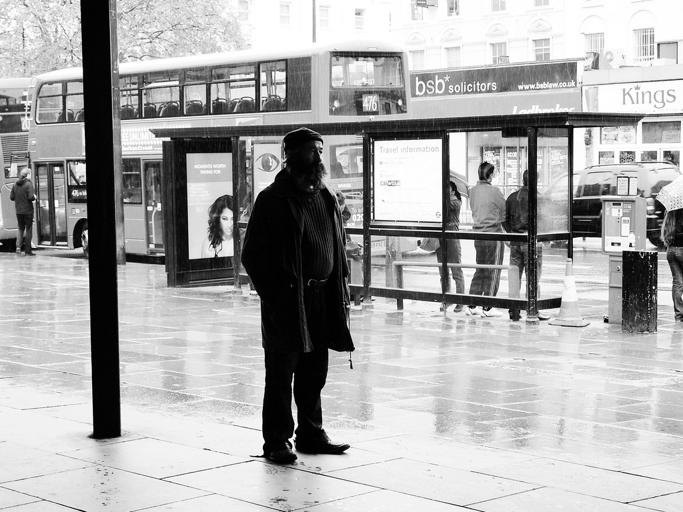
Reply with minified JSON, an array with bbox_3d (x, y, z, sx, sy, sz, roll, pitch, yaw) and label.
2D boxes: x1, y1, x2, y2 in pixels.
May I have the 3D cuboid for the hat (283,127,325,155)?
[{"bbox_3d":[-0.314,-0.917,7.284,0.215,0.110,0.228,1,-2,-18],"label":"hat"}]

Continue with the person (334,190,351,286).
[{"bbox_3d":[-0.049,-0.332,15.492,0.296,1.512,0.413,0,-1,-4],"label":"person"}]

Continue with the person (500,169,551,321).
[{"bbox_3d":[2.801,-0.146,14.375,0.429,2.376,0.745,-2,5,-30],"label":"person"}]

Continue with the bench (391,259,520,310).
[{"bbox_3d":[1.799,0.512,15.330,2.260,0.909,0.607,3,15,25],"label":"bench"}]

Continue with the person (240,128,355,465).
[{"bbox_3d":[-0.332,0.298,7.345,0.898,2.595,0.447,-2,5,-33],"label":"person"}]

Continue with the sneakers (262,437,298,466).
[{"bbox_3d":[-0.484,1.521,7.226,0.268,0.161,0.258,0,5,-4],"label":"sneakers"}]

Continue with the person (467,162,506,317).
[{"bbox_3d":[2.333,-0.257,14.901,0.530,2.535,0.898,1,4,2],"label":"person"}]

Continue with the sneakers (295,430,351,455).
[{"bbox_3d":[-0.151,1.518,7.540,0.456,0.222,0.175,1,0,4],"label":"sneakers"}]

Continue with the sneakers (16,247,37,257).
[{"bbox_3d":[-9.419,-0.123,27.526,0.597,0.287,0.215,1,6,-12],"label":"sneakers"}]
